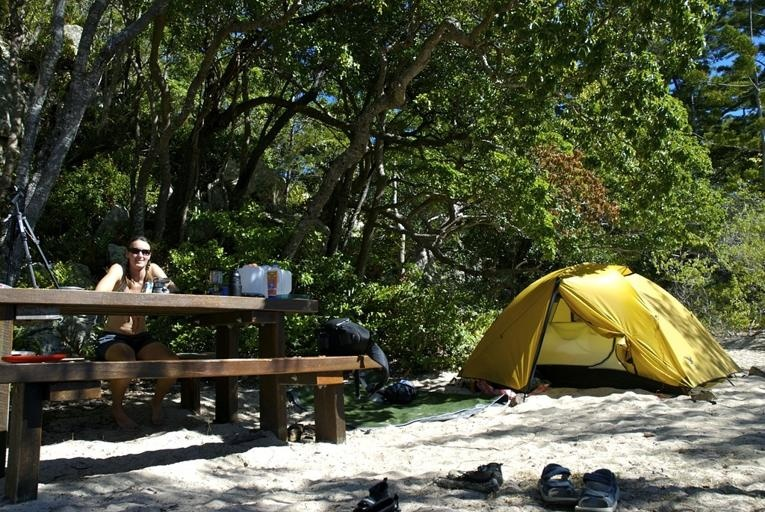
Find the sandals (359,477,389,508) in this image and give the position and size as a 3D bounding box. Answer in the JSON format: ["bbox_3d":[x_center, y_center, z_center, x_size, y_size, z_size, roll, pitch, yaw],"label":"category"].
[{"bbox_3d":[-0.108,2.586,7.220,0.245,0.063,0.236,-28,8,-8],"label":"sandals"}]

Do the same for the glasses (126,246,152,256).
[{"bbox_3d":[-3.183,-0.063,8.606,0.264,0.124,0.101,-2,9,-17],"label":"glasses"}]

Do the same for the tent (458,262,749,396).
[{"bbox_3d":[4.049,1.340,11.961,3.272,1.491,3.056,-10,-14,38],"label":"tent"}]
